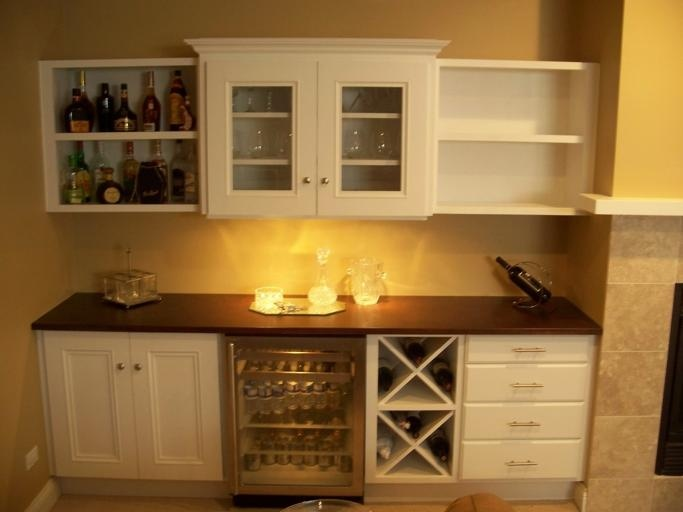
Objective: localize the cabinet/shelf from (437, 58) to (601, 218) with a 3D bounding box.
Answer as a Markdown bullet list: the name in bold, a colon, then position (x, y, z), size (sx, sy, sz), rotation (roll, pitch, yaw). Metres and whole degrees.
- **cabinet/shelf**: position (1.026, -0.714, 3.725), size (0.975, 0.875, 0.318), rotation (0, 3, 1)

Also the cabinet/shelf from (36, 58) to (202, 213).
- **cabinet/shelf**: position (-1.262, -0.693, 3.688), size (0.933, 0.833, 0.295), rotation (0, 5, -1)

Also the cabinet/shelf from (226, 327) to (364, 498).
- **cabinet/shelf**: position (-0.226, 0.917, 3.862), size (0.770, 0.954, 0.532), rotation (-1, 0, 4)

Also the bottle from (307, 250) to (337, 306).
- **bottle**: position (-0.108, 0.120, 3.815), size (0.160, 0.305, 0.293), rotation (-2, 11, -1)

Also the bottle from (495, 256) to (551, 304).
- **bottle**: position (1.072, 0.146, 3.844), size (0.314, 0.273, 0.227), rotation (1, 11, 14)

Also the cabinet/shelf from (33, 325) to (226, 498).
- **cabinet/shelf**: position (-1.083, 0.862, 3.813), size (1.041, 0.904, 0.506), rotation (-2, 2, 11)

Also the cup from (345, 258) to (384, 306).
- **cup**: position (0.150, 0.155, 3.915), size (0.258, 0.260, 0.256), rotation (0, 2, 0)

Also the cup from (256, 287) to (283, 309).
- **cup**: position (-0.412, 0.239, 3.717), size (0.120, 0.070, 0.122), rotation (1, 2, 0)
